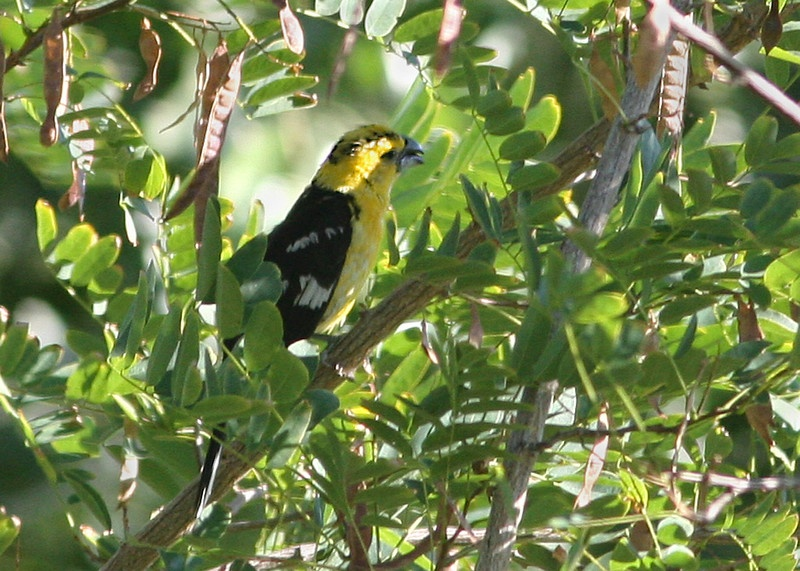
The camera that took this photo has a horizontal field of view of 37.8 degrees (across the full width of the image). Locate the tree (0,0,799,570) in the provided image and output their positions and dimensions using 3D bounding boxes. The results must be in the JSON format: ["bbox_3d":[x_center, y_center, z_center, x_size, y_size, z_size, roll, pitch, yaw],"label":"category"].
[{"bbox_3d":[0.145,0.182,3.850,2.556,0.956,2.243,0,-80,22],"label":"tree"}]
